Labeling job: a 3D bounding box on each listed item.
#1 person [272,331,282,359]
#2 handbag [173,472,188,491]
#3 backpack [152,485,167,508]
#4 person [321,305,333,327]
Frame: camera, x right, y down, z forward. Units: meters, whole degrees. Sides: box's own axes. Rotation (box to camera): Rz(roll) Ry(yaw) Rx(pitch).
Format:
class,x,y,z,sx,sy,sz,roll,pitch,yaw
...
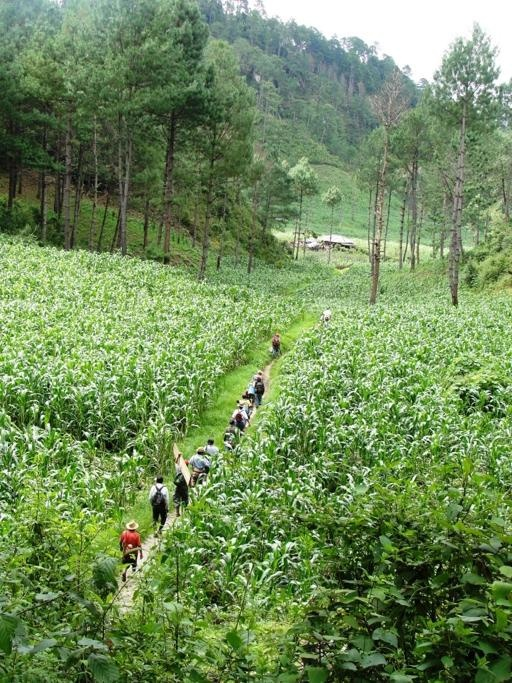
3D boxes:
class,x,y,z,sx,sy,sz,roll,pitch,yaw
person,0.692,0.122,20.111,0.369,0.786,1.294,4,0,2
handbag,-1.215,2.266,9.774,0.297,0.296,0.111,4,0,42
backpack,-1.428,2.241,8.764,0.193,0.284,0.290,5,34,-6
person,2.803,-0.948,23.907,0.436,0.637,1.397,-2,8,9
